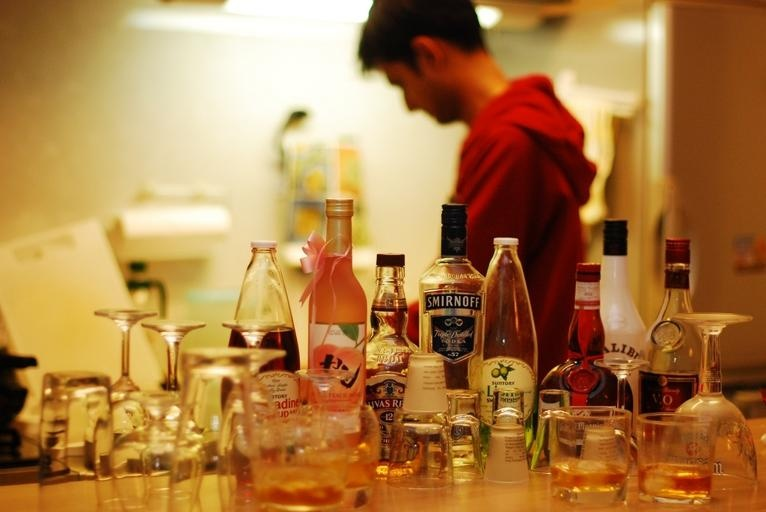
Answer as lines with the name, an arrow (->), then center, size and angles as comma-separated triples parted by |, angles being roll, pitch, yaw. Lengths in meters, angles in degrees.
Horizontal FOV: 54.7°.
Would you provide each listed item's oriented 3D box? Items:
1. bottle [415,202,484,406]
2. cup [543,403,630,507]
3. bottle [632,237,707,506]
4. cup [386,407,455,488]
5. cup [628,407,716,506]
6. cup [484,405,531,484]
bottle -> 0.144, 0.111, 1.447 | 0.140, 0.428, 0.123 | 0, 11, 7
cup -> 0.345, 0.340, 1.293 | 0.121, 0.139, 0.159 | -1, -3, 41
bottle -> 0.565, 0.217, 1.438 | 0.149, 0.479, 0.143 | 6, -13, 1
cup -> 0.059, 0.343, 1.307 | 0.107, 0.112, 0.108 | -1, -14, 0
cup -> 0.485, 0.344, 1.299 | 0.125, 0.126, 0.151 | 0, -2, 0
cup -> 0.218, 0.340, 1.316 | 0.077, 0.129, 0.052 | -4, -3, -4
